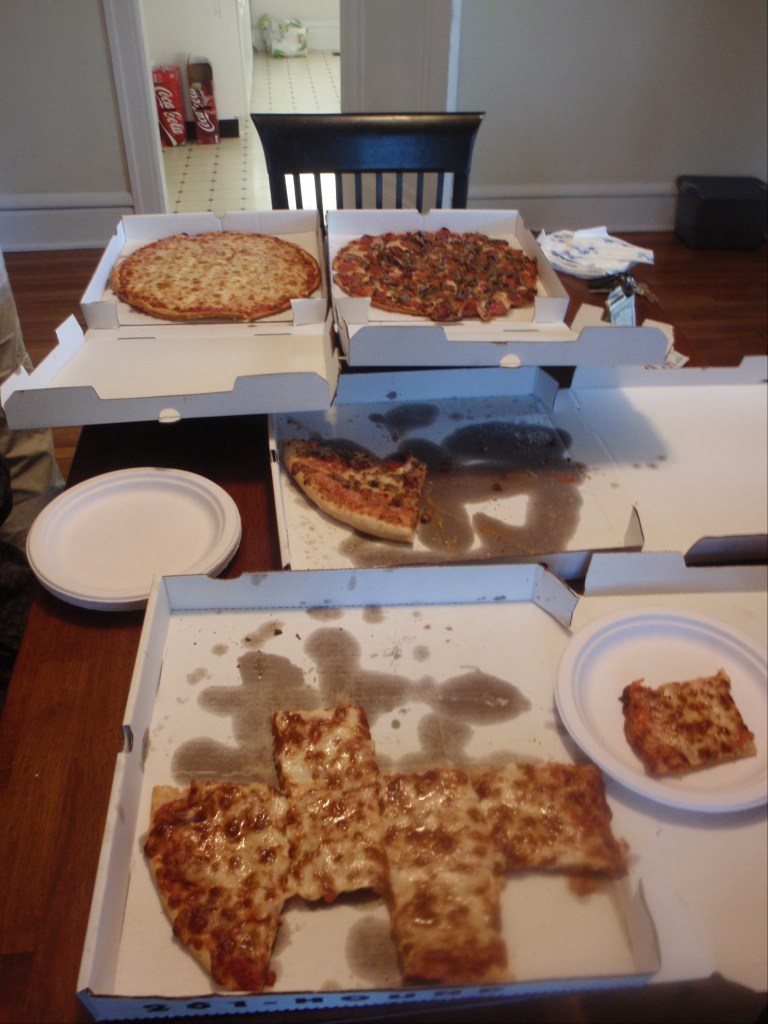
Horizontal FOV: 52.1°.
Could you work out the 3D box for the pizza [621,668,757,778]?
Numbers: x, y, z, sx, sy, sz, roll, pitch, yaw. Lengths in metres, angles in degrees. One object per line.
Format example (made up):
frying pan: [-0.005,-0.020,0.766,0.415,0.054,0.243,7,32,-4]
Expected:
pizza: [0.309,0.214,0.816,0.107,0.053,0.111,-4,35,-5]

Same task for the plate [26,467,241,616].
plate: [-0.359,0.039,1.136,0.227,0.045,0.228,0,43,-7]
